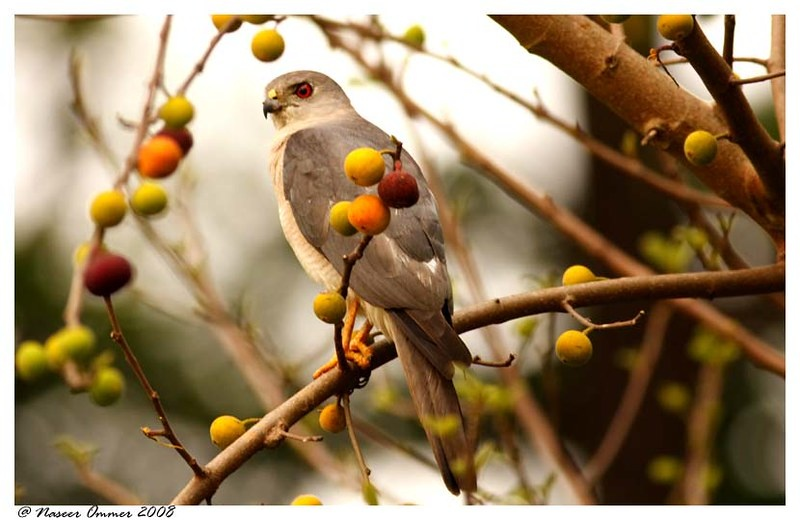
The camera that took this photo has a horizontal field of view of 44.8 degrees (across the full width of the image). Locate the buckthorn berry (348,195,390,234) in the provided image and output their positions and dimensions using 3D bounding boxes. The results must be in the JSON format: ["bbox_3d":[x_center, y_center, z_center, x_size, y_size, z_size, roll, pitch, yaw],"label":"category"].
[{"bbox_3d":[-0.116,-0.162,3.558,0.151,0.131,0.121,-14,-47,2],"label":"buckthorn berry"}]

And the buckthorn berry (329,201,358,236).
[{"bbox_3d":[-0.219,-0.154,3.670,0.107,0.117,0.153,-1,-92,5],"label":"buckthorn berry"}]

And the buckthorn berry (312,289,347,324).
[{"bbox_3d":[-0.271,0.188,3.785,0.111,0.117,0.125,25,-100,-9],"label":"buckthorn berry"}]

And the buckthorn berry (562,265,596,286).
[{"bbox_3d":[0.783,0.060,4.234,0.107,0.087,0.094,1,-79,-8],"label":"buckthorn berry"}]

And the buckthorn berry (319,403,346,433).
[{"bbox_3d":[-0.285,0.673,4.101,0.106,0.116,0.146,-7,-47,-4],"label":"buckthorn berry"}]

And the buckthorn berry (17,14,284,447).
[{"bbox_3d":[-1.012,-0.350,4.046,0.813,1.027,2.604,2,-91,-13],"label":"buckthorn berry"}]

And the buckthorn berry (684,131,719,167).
[{"bbox_3d":[1.200,-0.446,3.942,0.124,0.139,0.175,3,-88,7],"label":"buckthorn berry"}]
